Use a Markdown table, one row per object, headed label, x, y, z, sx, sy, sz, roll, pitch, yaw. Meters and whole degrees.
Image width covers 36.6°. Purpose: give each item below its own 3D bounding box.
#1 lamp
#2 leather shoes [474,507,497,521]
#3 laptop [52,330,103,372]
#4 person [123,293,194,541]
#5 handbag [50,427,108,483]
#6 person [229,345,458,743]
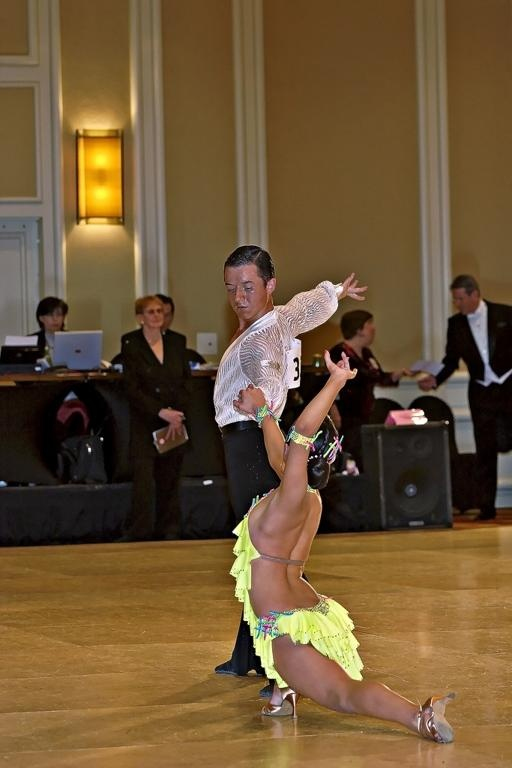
| label | x | y | z | sx | sy | sz | roll | pitch | yaw |
| --- | --- | --- | --- | --- | --- | --- | --- | --- | --- |
| lamp | -1.254 | -1.657 | 6.199 | 0.370 | 0.706 | 0.176 | -2 | 0 | -14 |
| leather shoes | 1.592 | 0.910 | 5.358 | 0.142 | 0.132 | 0.085 | -4 | -21 | 17 |
| laptop | -1.088 | -0.211 | 4.708 | 0.324 | 0.285 | 0.235 | 1 | 9 | -16 |
| person | -0.590 | 0.213 | 4.683 | 0.413 | 1.408 | 0.255 | -2 | 0 | -9 |
| handbag | -1.059 | 0.467 | 4.720 | 0.352 | 0.326 | 0.242 | 1 | -10 | 10 |
| person | 0.153 | 0.302 | 1.495 | 0.254 | 0.739 | 0.601 | -2 | -1 | -25 |
